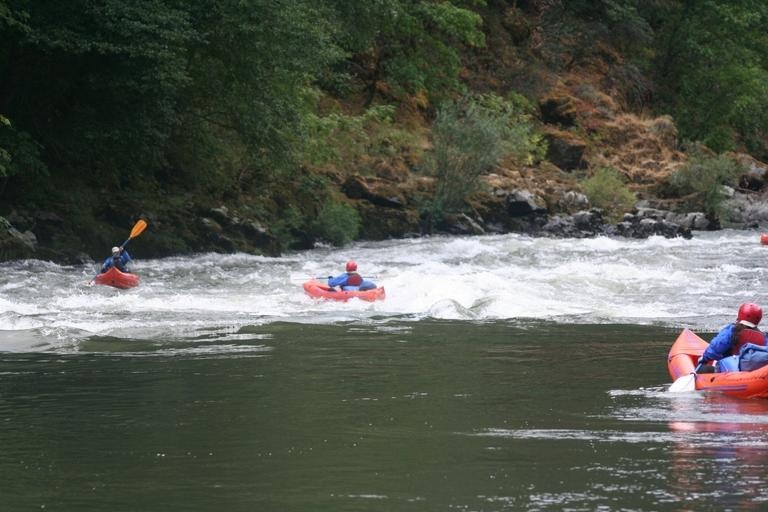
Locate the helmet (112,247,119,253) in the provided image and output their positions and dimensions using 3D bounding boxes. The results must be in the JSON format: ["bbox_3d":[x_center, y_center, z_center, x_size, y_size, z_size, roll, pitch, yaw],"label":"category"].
[{"bbox_3d":[-9.870,-0.168,55.155,0.280,0.222,0.292,-8,-30,-20],"label":"helmet"}]

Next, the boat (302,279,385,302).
[{"bbox_3d":[-1.470,1.360,53.875,2.337,0.510,0.994,5,3,19],"label":"boat"}]

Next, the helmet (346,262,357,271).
[{"bbox_3d":[-1.117,0.413,54.125,0.414,0.290,0.309,-17,28,-35],"label":"helmet"}]

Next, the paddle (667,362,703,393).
[{"bbox_3d":[9.602,3.900,46.925,0.401,0.151,1.151,25,52,40],"label":"paddle"}]

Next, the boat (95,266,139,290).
[{"bbox_3d":[-9.682,0.883,54.412,0.997,0.362,1.469,3,-10,-1],"label":"boat"}]

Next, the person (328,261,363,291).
[{"bbox_3d":[-1.381,0.814,55.392,1.226,1.273,0.848,2,28,-42],"label":"person"}]
